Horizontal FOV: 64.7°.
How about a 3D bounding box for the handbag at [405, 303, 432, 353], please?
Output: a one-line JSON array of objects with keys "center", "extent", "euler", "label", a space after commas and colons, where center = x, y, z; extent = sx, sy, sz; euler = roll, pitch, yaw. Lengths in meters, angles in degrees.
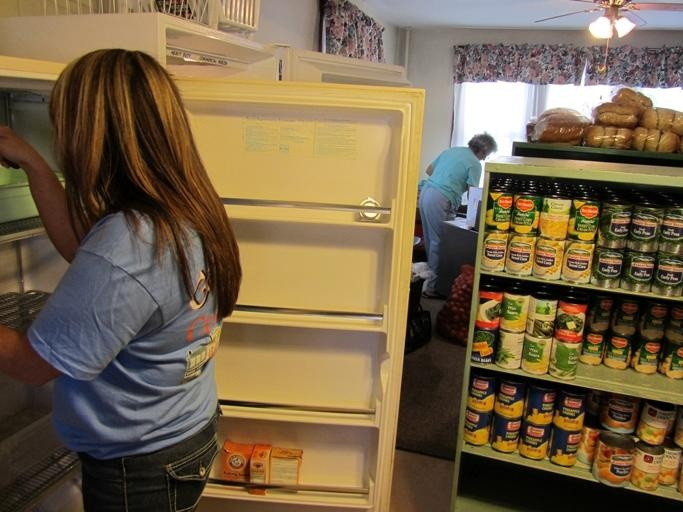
[{"center": [0.490, 0.465, 3.798], "extent": [0.135, 0.319, 0.305], "euler": [8, 4, 40], "label": "handbag"}]
